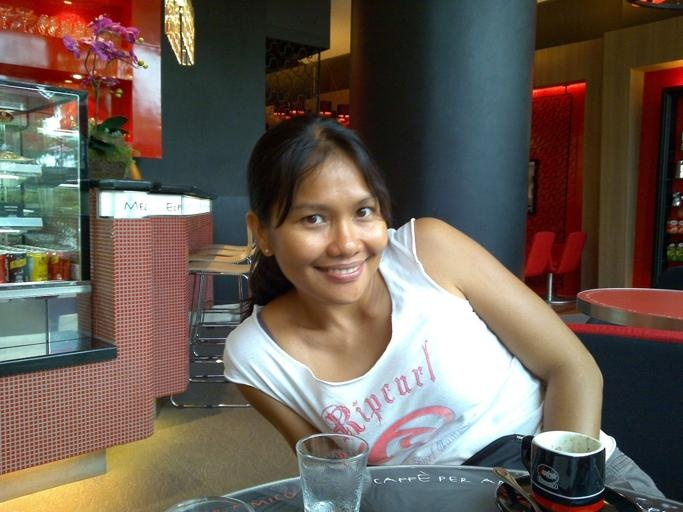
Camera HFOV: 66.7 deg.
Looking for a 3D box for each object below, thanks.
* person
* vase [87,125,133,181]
[{"bbox_3d":[0.171,0.110,1.283,0.968,0.898,0.436,5,8,26],"label":"person"},{"bbox_3d":[-1.241,-0.560,2.776,0.211,0.290,0.279,-1,7,-18],"label":"vase"}]
